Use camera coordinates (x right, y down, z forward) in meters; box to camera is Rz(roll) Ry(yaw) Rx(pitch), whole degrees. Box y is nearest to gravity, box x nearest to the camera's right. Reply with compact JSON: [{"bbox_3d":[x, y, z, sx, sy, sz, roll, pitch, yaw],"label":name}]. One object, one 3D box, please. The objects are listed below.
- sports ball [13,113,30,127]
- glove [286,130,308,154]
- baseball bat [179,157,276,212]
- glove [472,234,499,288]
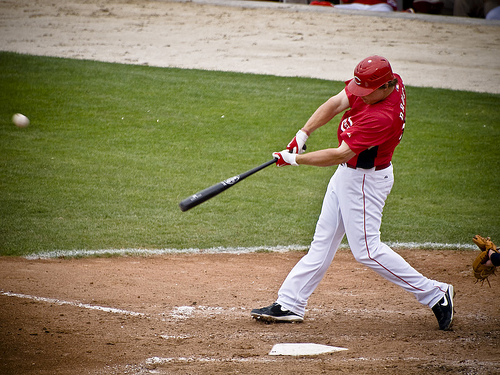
[{"bbox_3d":[-4.265,-1.245,17.049,0.270,0.155,0.185,4,22,11],"label":"sports ball"},{"bbox_3d":[0.669,-0.653,13.141,0.214,0.378,0.137,34,-5,-32],"label":"glove"},{"bbox_3d":[-0.396,-0.005,15.928,1.791,0.173,0.185,-26,41,-11],"label":"baseball bat"},{"bbox_3d":[3.451,1.117,13.387,0.431,0.906,0.330,-17,32,-9],"label":"glove"}]
